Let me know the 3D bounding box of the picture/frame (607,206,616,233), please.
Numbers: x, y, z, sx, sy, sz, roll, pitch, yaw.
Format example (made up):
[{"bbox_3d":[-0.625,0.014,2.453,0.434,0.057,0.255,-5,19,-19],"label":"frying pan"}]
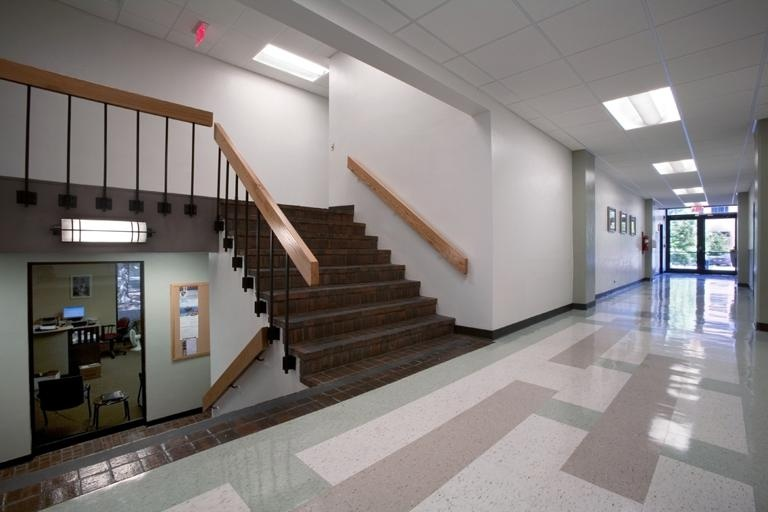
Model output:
[{"bbox_3d":[5.138,-0.833,10.262,0.049,0.527,0.647,-2,-2,36],"label":"picture/frame"}]

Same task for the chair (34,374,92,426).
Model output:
[{"bbox_3d":[-5.442,2.487,7.749,0.704,0.864,0.629,-4,-1,-35],"label":"chair"}]

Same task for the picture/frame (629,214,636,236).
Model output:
[{"bbox_3d":[6.680,-0.848,12.198,0.044,0.436,0.633,-3,-2,39],"label":"picture/frame"}]

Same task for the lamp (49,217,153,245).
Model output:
[{"bbox_3d":[-3.304,-0.307,5.303,0.976,0.274,0.234,-3,5,-37],"label":"lamp"}]

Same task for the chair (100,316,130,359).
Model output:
[{"bbox_3d":[-5.147,1.524,8.586,0.498,0.729,0.450,1,-3,37],"label":"chair"}]

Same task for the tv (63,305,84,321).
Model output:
[{"bbox_3d":[-5.673,1.028,8.223,0.104,0.215,0.302,-1,-2,35],"label":"tv"}]

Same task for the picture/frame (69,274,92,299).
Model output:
[{"bbox_3d":[-5.575,0.537,8.263,0.043,0.553,0.467,-7,-4,37],"label":"picture/frame"}]

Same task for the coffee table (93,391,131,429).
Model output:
[{"bbox_3d":[-5.023,2.835,8.348,0.585,0.520,0.490,-3,7,-41],"label":"coffee table"}]

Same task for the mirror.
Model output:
[{"bbox_3d":[-5.439,1.700,8.226,1.822,3.188,0.101,1,-19,-45],"label":"mirror"}]

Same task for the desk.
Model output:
[{"bbox_3d":[-5.859,1.874,8.365,1.041,0.905,0.666,-3,-28,-36],"label":"desk"}]
